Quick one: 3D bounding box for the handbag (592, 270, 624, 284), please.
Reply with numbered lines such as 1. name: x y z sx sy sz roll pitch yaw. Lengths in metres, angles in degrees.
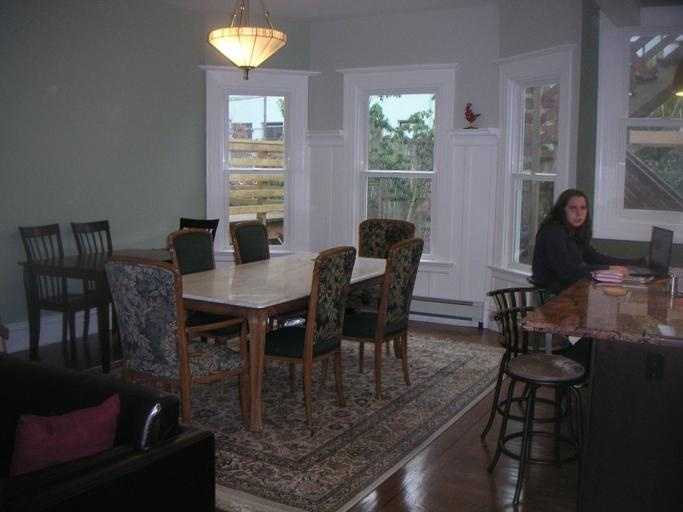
1. handbag: 1.810 0.137 3.582 0.140 0.049 0.109 0 5 2
